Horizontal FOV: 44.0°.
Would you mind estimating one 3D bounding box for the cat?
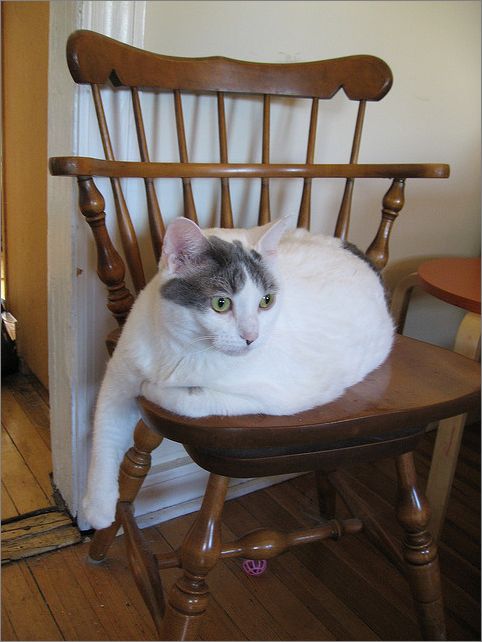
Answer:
[{"bbox_3d":[0.022,-0.003,1.027,0.377,0.338,0.603,19,32,29],"label":"cat"}]
